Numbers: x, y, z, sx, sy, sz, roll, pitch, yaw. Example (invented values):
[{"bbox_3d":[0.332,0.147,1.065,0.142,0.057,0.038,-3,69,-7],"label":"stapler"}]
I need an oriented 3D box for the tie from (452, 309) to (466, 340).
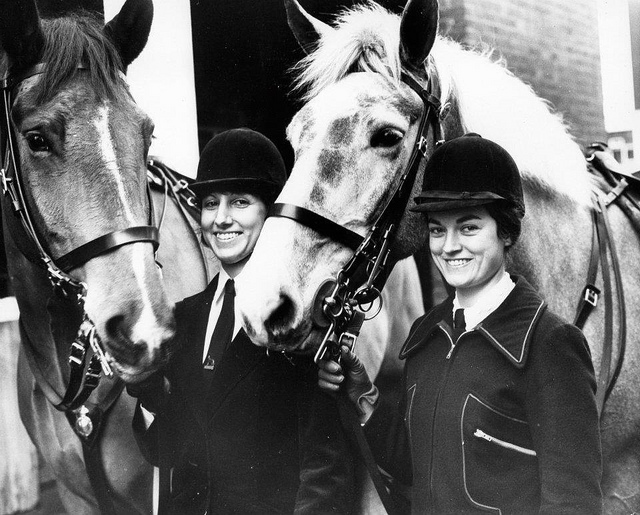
[{"bbox_3d":[0.443,0.215,3.565,0.023,0.082,0.049,16,-10,-34],"label":"tie"}]
